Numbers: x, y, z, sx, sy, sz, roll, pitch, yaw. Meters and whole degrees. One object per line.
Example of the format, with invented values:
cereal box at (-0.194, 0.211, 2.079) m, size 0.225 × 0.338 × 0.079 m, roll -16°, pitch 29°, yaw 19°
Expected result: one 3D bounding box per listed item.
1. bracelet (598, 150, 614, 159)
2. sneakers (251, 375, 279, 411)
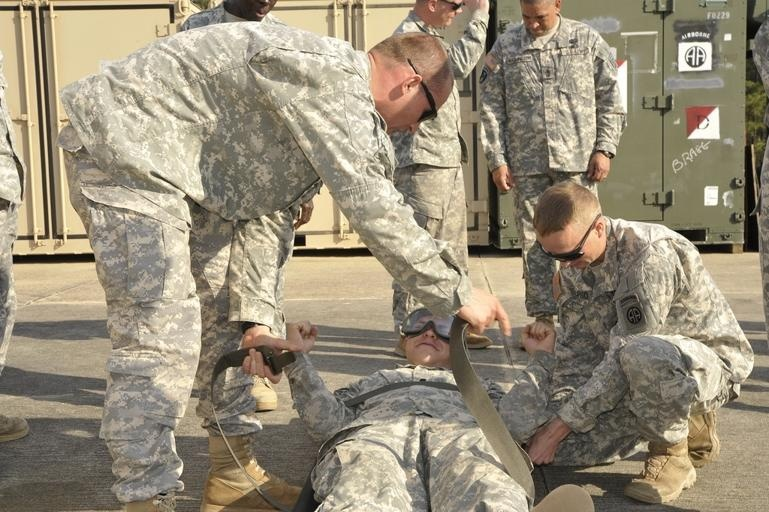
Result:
bracelet at (1.651, -0.772, 8.843) m, size 0.101 × 0.030 × 0.080 m, roll 17°, pitch -7°, yaw -22°
sneakers at (-0.799, 0.915, 7.883) m, size 0.142 × 0.131 × 0.372 m, roll 0°, pitch -11°, yaw -1°
